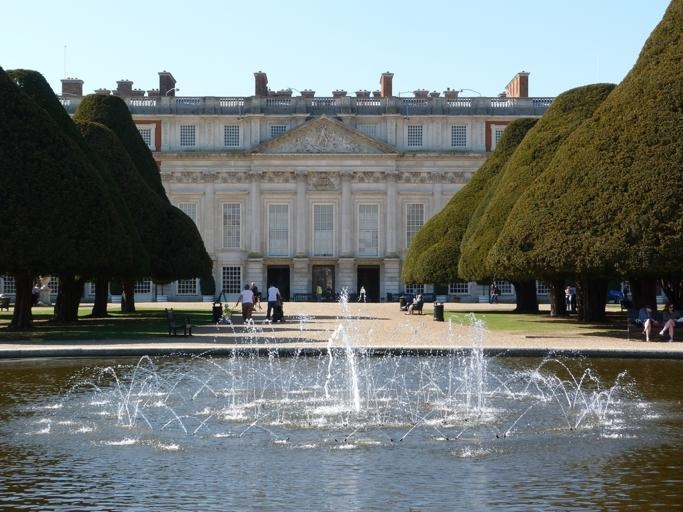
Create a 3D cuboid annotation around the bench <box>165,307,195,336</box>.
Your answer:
[{"bbox_3d":[-5.639,2.326,47.300,0.764,1.083,0.821,-1,0,15],"label":"bench"}]
